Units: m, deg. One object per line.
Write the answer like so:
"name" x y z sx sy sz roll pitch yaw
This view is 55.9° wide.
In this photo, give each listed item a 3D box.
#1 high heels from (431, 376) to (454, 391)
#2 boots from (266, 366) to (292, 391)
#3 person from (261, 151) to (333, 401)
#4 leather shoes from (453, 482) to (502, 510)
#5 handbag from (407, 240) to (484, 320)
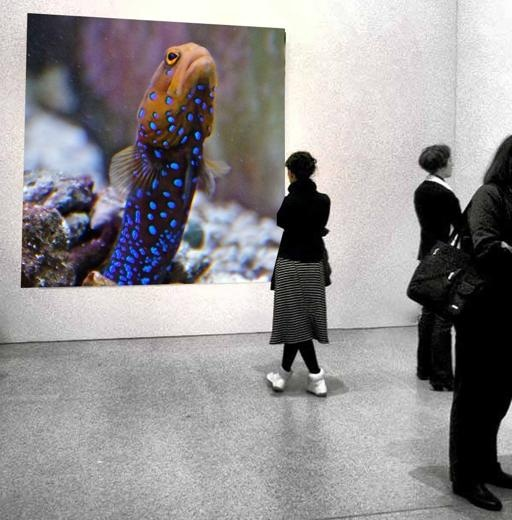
"high heels" 1.279 0.850 3.315 0.064 0.091 0.178 -1 3 2
"boots" 0.164 0.820 3.395 0.095 0.144 0.206 13 17 -10
"person" 0.300 0.084 3.257 0.384 1.641 0.393 0 3 4
"leather shoes" 0.866 0.899 1.908 0.067 0.073 0.183 0 0 -28
"handbag" 0.720 0.082 1.854 0.263 0.283 0.177 1 3 15
